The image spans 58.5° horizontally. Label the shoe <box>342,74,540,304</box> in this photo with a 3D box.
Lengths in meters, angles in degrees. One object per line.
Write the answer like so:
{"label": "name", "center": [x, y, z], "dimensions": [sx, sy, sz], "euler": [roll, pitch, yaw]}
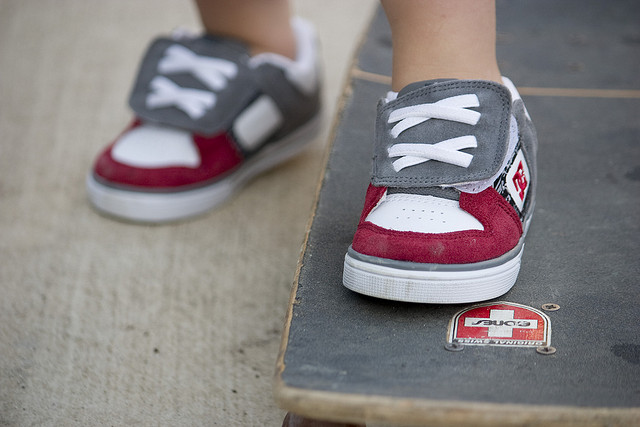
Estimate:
{"label": "shoe", "center": [0.246, -0.100, 1.141], "dimensions": [0.302, 0.264, 0.624], "euler": [4, 31, 18]}

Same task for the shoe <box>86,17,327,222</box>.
{"label": "shoe", "center": [-0.255, -0.273, 1.503], "dimensions": [0.731, 0.332, 0.339], "euler": [-31, 51, -33]}
